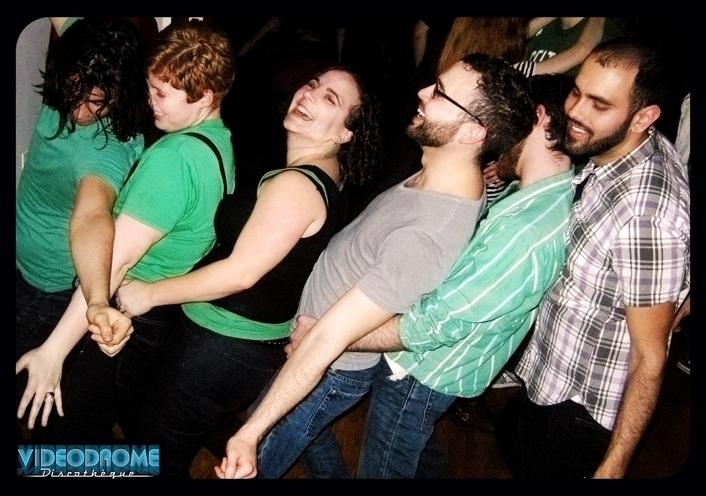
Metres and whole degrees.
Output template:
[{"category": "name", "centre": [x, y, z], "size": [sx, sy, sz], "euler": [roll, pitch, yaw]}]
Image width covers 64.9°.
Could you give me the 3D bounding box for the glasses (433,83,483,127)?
[{"category": "glasses", "centre": [0.410, -0.547, 2.317], "size": [0.192, 0.054, 0.186], "euler": [30, 7, -7]}]
